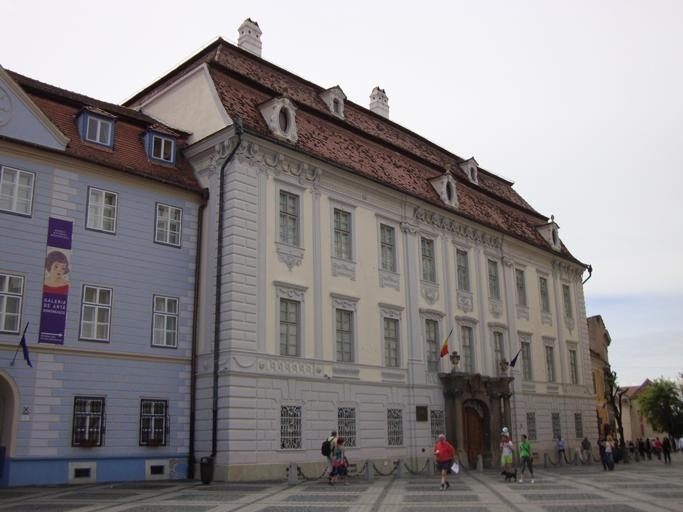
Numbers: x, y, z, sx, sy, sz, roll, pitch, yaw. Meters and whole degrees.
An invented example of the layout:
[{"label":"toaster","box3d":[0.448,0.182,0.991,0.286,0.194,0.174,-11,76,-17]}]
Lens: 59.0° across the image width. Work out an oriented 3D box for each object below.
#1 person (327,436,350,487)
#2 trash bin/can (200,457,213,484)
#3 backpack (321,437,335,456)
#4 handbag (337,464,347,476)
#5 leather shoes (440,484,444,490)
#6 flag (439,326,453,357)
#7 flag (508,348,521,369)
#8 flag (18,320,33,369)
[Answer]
[{"label":"person","box3d":[-0.141,8.211,24.059,0.644,1.726,0.800,-5,-19,5]},{"label":"trash bin/can","box3d":[-5.219,8.494,23.732,0.514,1.027,0.698,4,-20,-20]},{"label":"backpack","box3d":[-0.705,7.800,24.406,0.703,0.776,0.491,5,-14,-27]},{"label":"handbag","box3d":[0.073,8.661,24.080,0.296,0.383,0.674,-6,-20,7]},{"label":"leather shoes","box3d":[3.698,8.532,22.117,0.147,0.260,0.256,0,-7,8]},{"label":"flag","box3d":[5.910,4.949,34.339,0.644,1.758,1.511,-12,-21,24]},{"label":"flag","box3d":[11.214,6.713,39.216,0.653,1.241,2.133,-10,-21,19]},{"label":"flag","box3d":[-11.571,3.297,22.263,0.299,1.632,0.679,-5,-19,5]}]
